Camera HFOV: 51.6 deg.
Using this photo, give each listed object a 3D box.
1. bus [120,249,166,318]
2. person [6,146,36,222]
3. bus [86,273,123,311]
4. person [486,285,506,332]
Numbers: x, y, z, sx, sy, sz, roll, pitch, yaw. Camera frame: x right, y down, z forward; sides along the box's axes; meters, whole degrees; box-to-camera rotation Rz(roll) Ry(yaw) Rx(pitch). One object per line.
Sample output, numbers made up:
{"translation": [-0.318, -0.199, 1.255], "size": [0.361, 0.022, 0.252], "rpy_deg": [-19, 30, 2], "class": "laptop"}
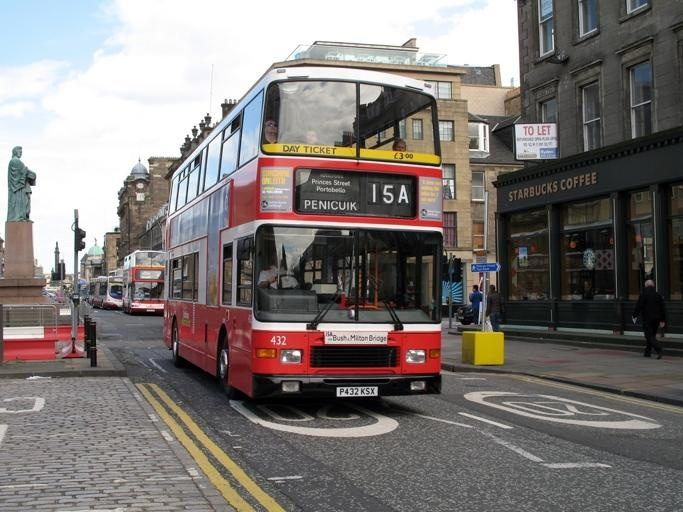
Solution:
{"translation": [-13.956, 1.960, 50.285], "size": [2.504, 3.629, 5.003], "rpy_deg": [1, 0, -15], "class": "bus"}
{"translation": [-14.400, -3.205, 31.847], "size": [0.955, 2.533, 1.395], "rpy_deg": [1, 0, -24], "class": "person"}
{"translation": [-24.085, 3.852, 72.401], "size": [2.977, 3.685, 13.082], "rpy_deg": [1, -6, -25], "class": "bus"}
{"translation": [5.360, 1.890, 24.808], "size": [0.497, 1.608, 2.109], "rpy_deg": [1, 0, 12], "class": "person"}
